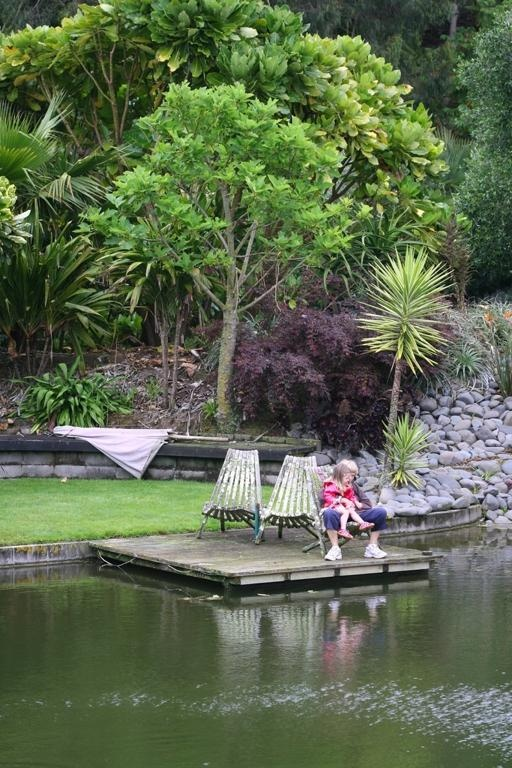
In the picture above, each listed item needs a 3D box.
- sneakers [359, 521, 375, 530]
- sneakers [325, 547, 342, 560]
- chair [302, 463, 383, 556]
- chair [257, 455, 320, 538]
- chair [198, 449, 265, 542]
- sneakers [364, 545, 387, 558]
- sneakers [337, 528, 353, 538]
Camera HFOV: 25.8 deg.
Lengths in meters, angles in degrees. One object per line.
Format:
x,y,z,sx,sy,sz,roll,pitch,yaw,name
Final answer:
0.873,1.140,8.950,0.140,0.062,0.064,-12,20,48,sneakers
0.611,1.342,8.818,0.135,0.113,0.231,2,5,5,sneakers
0.788,0.992,9.012,0.511,0.756,0.671,1,2,-3,chair
0.308,0.937,9.356,0.475,0.589,0.463,7,13,17,chair
-0.149,0.987,9.744,0.511,0.627,0.539,10,31,41,chair
0.970,1.361,9.065,0.078,0.090,0.213,0,-4,-37,sneakers
0.724,1.197,8.939,0.138,0.054,0.061,1,4,-38,sneakers
